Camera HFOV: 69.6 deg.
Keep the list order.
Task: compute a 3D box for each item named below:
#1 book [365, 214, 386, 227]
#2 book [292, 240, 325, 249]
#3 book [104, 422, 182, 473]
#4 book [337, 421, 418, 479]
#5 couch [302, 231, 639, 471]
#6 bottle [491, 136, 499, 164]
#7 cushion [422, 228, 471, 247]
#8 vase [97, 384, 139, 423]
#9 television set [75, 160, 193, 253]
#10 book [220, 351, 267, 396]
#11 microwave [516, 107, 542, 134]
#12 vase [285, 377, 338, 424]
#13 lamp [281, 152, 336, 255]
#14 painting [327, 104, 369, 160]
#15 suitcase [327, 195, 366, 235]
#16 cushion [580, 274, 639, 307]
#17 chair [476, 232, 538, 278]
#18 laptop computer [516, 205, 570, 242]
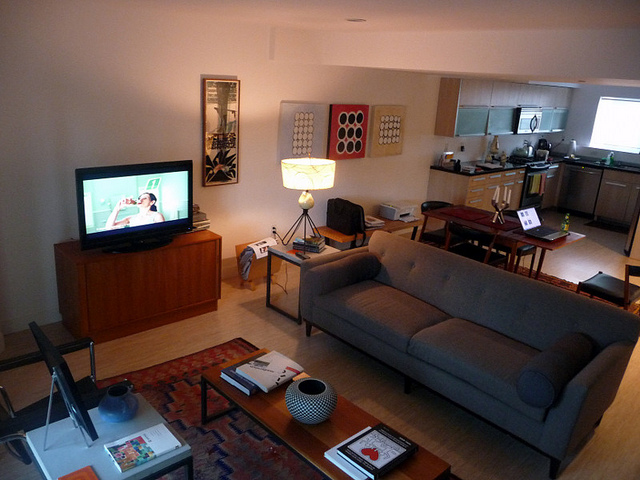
[{"bbox_3d":[0.746,-0.255,6.360,0.189,0.050,0.182,-10,23,-34],"label":"book"},{"bbox_3d":[-0.133,0.053,4.862,0.145,0.033,0.148,17,21,40],"label":"book"},{"bbox_3d":[-1.002,1.172,2.597,0.262,0.032,0.183,-11,27,-33],"label":"book"},{"bbox_3d":[0.339,1.253,2.742,0.409,0.075,0.284,-15,24,-39],"label":"book"},{"bbox_3d":[1.168,0.803,3.882,2.244,1.026,0.964,16,25,40],"label":"couch"},{"bbox_3d":[3.240,-1.688,8.546,0.127,0.456,0.490,7,20,20],"label":"bottle"},{"bbox_3d":[1.662,-0.044,6.144,0.300,0.068,0.303,-11,25,-33],"label":"cushion"},{"bbox_3d":[-1.244,1.006,2.803,0.250,0.219,0.241,11,-1,-27],"label":"vase"},{"bbox_3d":[-1.748,-0.309,4.222,0.840,0.574,0.238,-13,27,-40],"label":"television set"},{"bbox_3d":[-0.470,0.949,3.284,0.314,0.075,0.389,17,25,42],"label":"book"},{"bbox_3d":[3.854,-2.236,8.548,0.516,0.411,0.272,-12,24,-29],"label":"microwave"},{"bbox_3d":[-0.062,1.010,2.891,0.285,0.141,0.284,-1,7,-4],"label":"vase"},{"bbox_3d":[-0.129,-0.342,5.164,0.597,1.122,1.033,-2,19,-5],"label":"lamp"},{"bbox_3d":[0.378,-1.443,6.213,0.079,0.719,0.791,18,23,38],"label":"painting"},{"bbox_3d":[0.322,-0.321,6.110,0.269,0.404,0.540,-9,23,-35],"label":"suitcase"},{"bbox_3d":[3.145,0.532,5.008,0.488,0.191,0.430,-15,24,-38],"label":"cushion"},{"bbox_3d":[2.403,0.177,5.799,0.673,0.421,0.394,-3,13,-41],"label":"chair"},{"bbox_3d":[2.622,-0.142,5.503,0.509,0.286,0.475,-16,25,-36],"label":"laptop computer"}]
